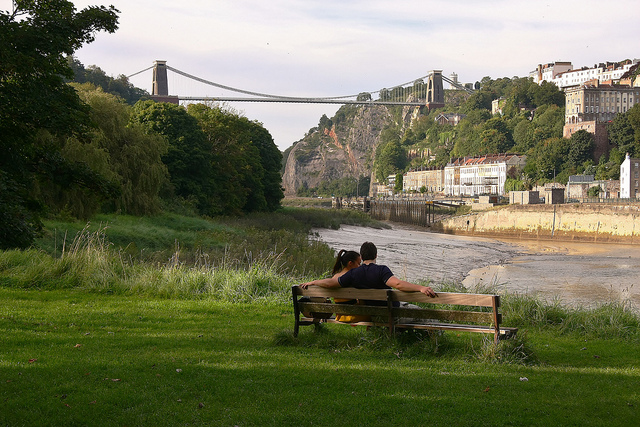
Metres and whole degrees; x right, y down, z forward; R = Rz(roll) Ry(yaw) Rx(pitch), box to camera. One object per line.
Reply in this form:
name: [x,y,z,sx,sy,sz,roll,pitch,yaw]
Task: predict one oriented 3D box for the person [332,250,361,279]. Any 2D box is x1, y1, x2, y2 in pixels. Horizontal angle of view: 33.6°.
person: [0.967,1.739,39.505,0.876,1.009,1.154,-3,6,-14]
